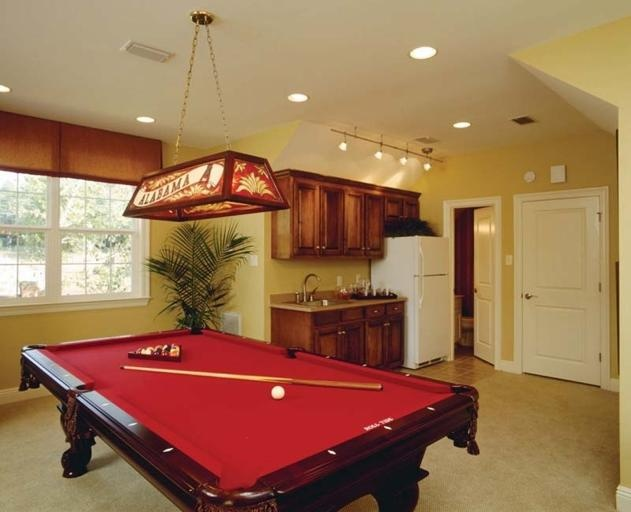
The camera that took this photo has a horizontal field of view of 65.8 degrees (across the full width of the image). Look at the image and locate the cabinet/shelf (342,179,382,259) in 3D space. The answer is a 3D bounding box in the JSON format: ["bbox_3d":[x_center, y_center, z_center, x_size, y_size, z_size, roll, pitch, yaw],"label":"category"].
[{"bbox_3d":[0.617,-0.420,6.128,0.206,0.884,0.809,7,12,37],"label":"cabinet/shelf"}]

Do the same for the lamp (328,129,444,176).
[{"bbox_3d":[0.919,-1.334,5.850,1.695,0.269,0.210,-3,-9,-34],"label":"lamp"}]

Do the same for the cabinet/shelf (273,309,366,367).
[{"bbox_3d":[0.124,1.060,5.727,0.701,0.978,1.145,1,3,17],"label":"cabinet/shelf"}]

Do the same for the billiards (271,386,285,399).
[{"bbox_3d":[-0.191,0.705,2.523,0.065,0.055,0.033,-10,-9,-12],"label":"billiards"}]

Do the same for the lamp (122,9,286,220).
[{"bbox_3d":[-0.830,-1.134,3.769,1.415,1.419,0.624,2,3,39],"label":"lamp"}]

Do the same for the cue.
[{"bbox_3d":[-0.356,0.709,2.812,1.325,0.042,0.045,2,8,16],"label":"cue"}]

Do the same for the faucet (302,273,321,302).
[{"bbox_3d":[-0.043,0.369,5.795,0.201,0.334,0.380,0,9,1],"label":"faucet"}]

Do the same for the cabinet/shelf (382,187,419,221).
[{"bbox_3d":[1.138,-0.644,6.703,0.626,0.443,0.236,6,-14,-20],"label":"cabinet/shelf"}]

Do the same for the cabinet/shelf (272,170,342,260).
[{"bbox_3d":[-0.108,-0.454,5.308,0.403,0.937,1.125,-3,-5,38],"label":"cabinet/shelf"}]
